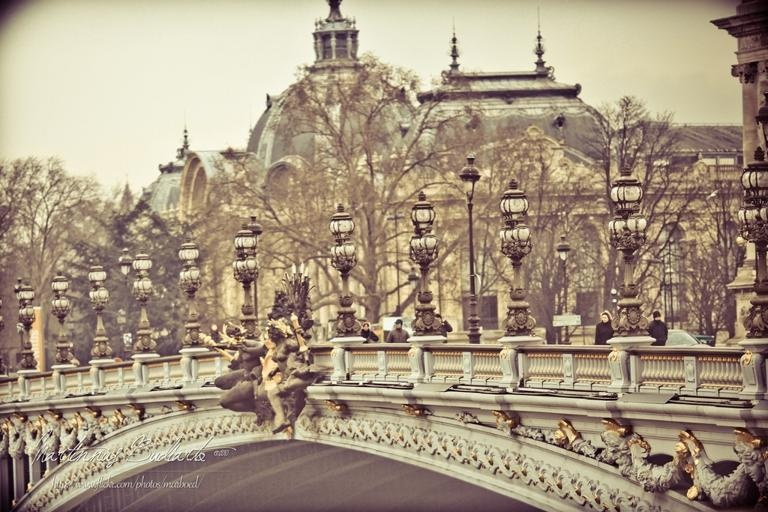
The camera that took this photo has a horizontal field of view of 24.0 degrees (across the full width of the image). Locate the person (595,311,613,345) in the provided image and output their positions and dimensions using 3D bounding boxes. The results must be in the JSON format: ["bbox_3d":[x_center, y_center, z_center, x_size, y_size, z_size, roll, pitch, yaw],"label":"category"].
[{"bbox_3d":[5.812,1.888,47.751,0.474,0.769,1.207,-8,4,6],"label":"person"}]

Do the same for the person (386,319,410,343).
[{"bbox_3d":[0.412,2.298,55.342,1.017,0.826,0.321,0,4,-16],"label":"person"}]
